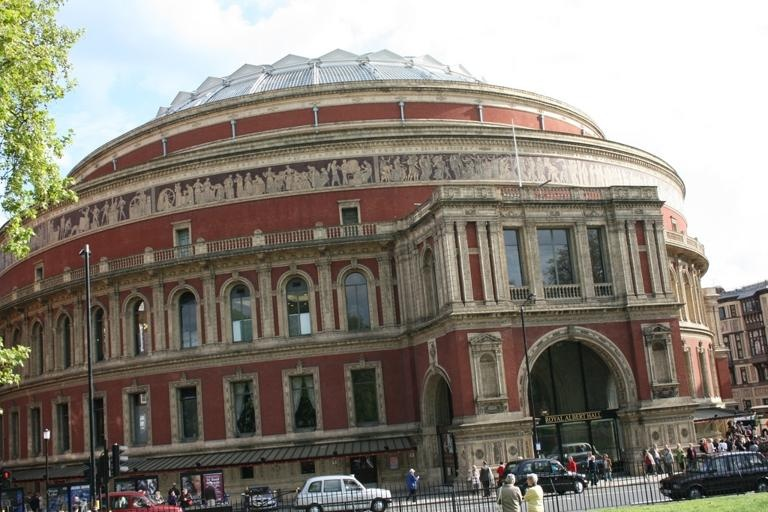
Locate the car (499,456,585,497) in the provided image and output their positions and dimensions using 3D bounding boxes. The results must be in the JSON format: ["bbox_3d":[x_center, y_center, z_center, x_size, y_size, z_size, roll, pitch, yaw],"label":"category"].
[{"bbox_3d":[9.951,13.355,63.098,4.194,1.836,2.547,-1,-4,-12],"label":"car"}]

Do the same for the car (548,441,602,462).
[{"bbox_3d":[12.844,13.308,69.711,2.534,1.134,1.445,1,-10,1],"label":"car"}]

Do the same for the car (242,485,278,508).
[{"bbox_3d":[-7.776,15.576,65.479,1.407,1.039,3.078,-2,-2,-5],"label":"car"}]
